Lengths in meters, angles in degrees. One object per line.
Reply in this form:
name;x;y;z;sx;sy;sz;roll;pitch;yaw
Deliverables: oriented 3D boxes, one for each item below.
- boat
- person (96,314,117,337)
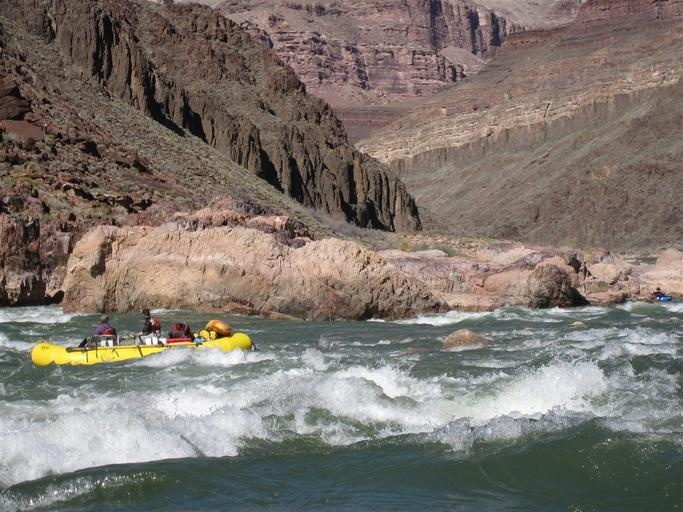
boat;-7.682;3.834;47.068;9.527;1.244;2.755;0;-1;-8
person;-9.777;2.960;48.668;0.802;1.141;0.489;-1;-1;-1
